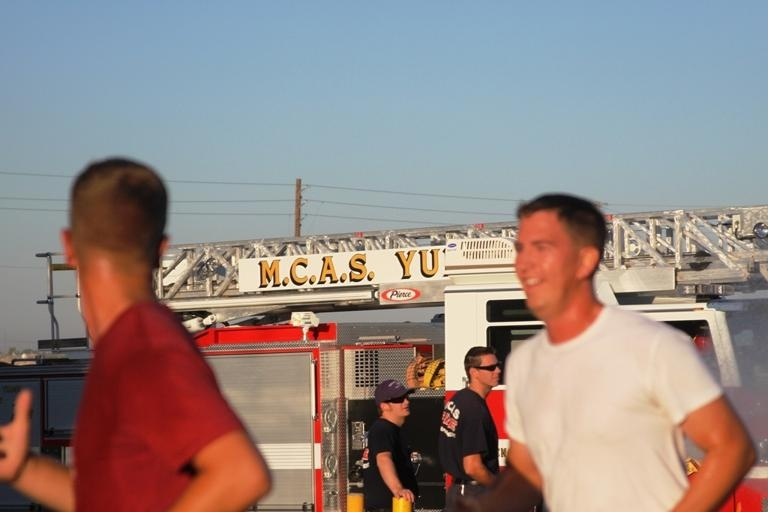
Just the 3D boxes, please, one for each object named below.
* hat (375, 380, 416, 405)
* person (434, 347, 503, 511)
[{"bbox_3d":[0.085,1.219,14.267,0.322,0.129,0.223,-7,-5,32],"label":"hat"},{"bbox_3d":[0.769,1.470,13.364,0.558,1.388,0.736,-3,-3,2],"label":"person"}]
